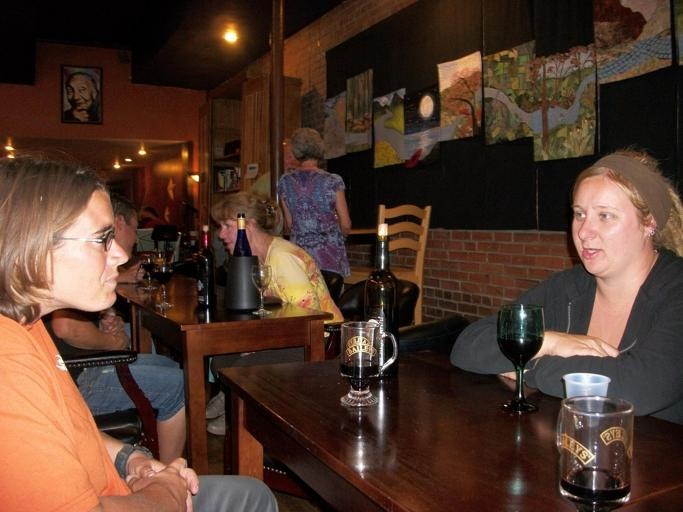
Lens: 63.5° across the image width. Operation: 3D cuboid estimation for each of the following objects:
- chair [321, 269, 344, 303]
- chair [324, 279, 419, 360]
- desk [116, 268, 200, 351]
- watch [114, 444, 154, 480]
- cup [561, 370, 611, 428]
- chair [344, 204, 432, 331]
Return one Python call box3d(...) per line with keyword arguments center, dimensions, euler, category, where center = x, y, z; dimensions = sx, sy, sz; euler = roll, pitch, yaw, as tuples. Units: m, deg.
box3d(center=(-0.058, 0.195, 3.632), dimensions=(0.179, 0.211, 0.169), euler=(-4, 9, -38), category="chair")
box3d(center=(0.089, 0.342, 3.117), dimensions=(0.469, 0.508, 0.410), euler=(10, -12, -41), category="chair")
box3d(center=(-1.027, 0.266, 3.097), dimensions=(0.400, 0.355, 0.724), euler=(0, 3, -25), category="desk")
box3d(center=(-0.581, 0.569, 1.554), dimensions=(0.102, 0.074, 0.047), euler=(-42, -18, -17), category="watch")
box3d(center=(0.548, 0.323, 1.236), dimensions=(0.092, 0.074, 0.100), euler=(-1, -4, 0), category="cup")
box3d(center=(0.340, 0.171, 4.786), dimensions=(0.786, 1.143, 0.832), euler=(3, 13, 22), category="chair")
